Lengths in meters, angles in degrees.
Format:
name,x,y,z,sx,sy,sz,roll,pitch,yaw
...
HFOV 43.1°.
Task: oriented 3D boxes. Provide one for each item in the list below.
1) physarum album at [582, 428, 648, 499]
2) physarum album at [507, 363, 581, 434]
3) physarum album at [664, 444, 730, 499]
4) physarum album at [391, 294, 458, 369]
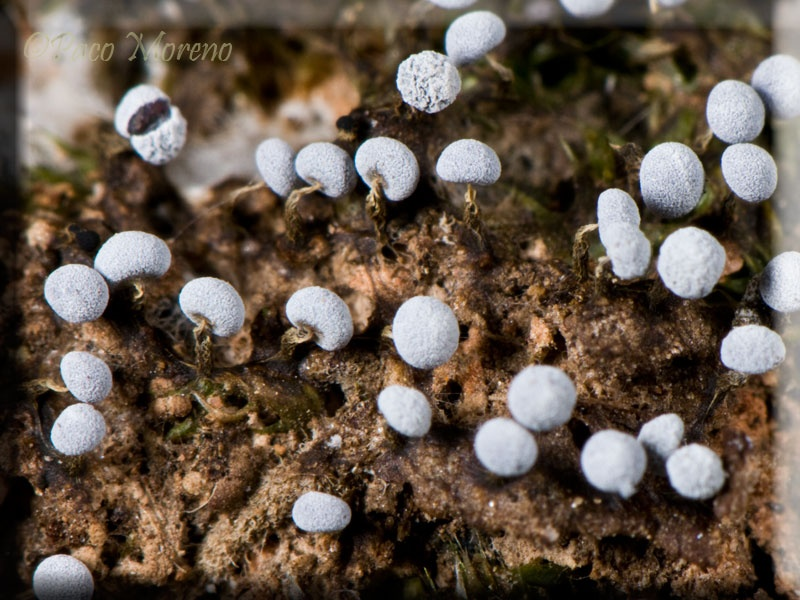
name,x,y,z,sx,sy,sz,roll,pitch,yaw
physarum album,0.756,0.562,3.562,0.225,0.186,0.227,44,86,5
physarum album,0.499,0.346,3.578,0.231,0.167,0.222,-16,83,-1
physarum album,1.036,0.603,3.529,0.178,0.054,0.196,24,97,3
physarum album,0.134,0.089,3.783,0.230,0.301,0.249,2,114,11
